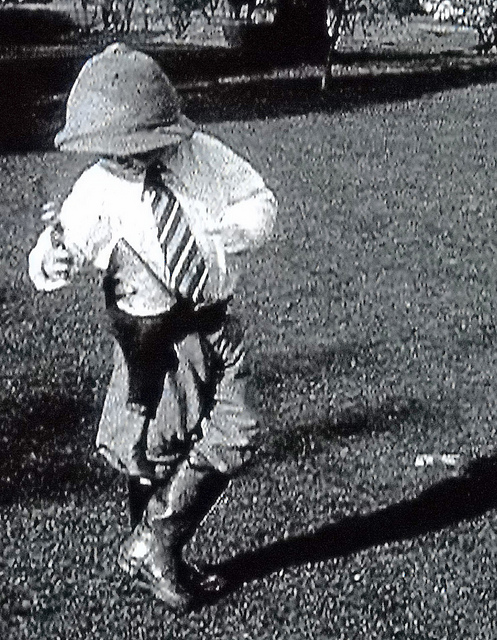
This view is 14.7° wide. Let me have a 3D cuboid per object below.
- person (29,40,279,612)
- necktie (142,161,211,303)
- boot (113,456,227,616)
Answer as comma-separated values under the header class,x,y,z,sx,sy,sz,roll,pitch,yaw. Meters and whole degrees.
class,x,y,z,sx,sy,sz,roll,pitch,yaw
person,-0.106,0.019,2.477,0.272,0.909,0.280,-13,35,-11
necktie,-0.091,-0.109,2.396,0.071,0.178,0.031,-6,10,35
boot,-0.097,0.253,2.394,0.134,0.222,0.074,35,46,3
